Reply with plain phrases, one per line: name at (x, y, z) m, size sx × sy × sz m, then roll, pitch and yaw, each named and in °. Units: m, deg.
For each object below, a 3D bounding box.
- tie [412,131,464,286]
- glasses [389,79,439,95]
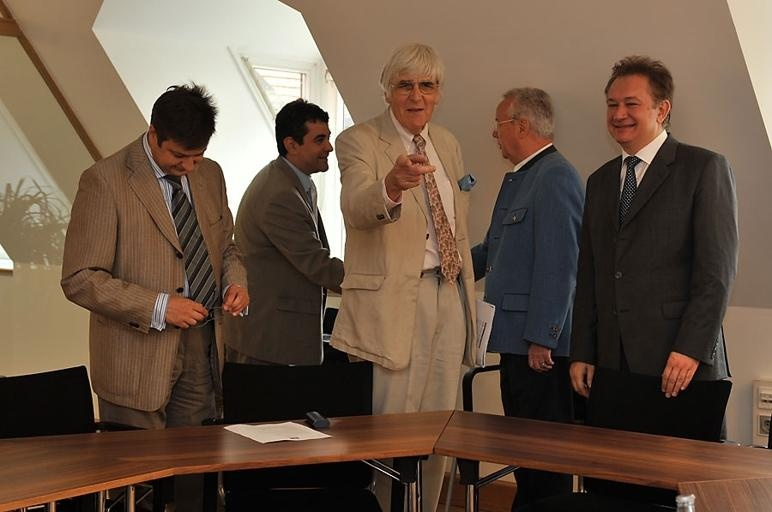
tie at (0.225, -0.242, 3.184) m, size 0.170 × 0.790 × 0.066 m, roll -13°, pitch -5°, yaw -14°
glasses at (0.137, -0.786, 3.039) m, size 0.210 × 0.063 × 0.068 m, roll 2°, pitch 10°, yaw 6°
